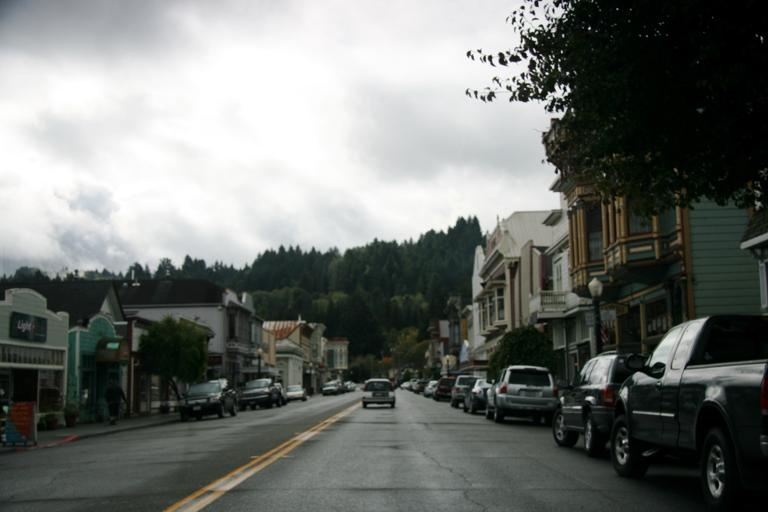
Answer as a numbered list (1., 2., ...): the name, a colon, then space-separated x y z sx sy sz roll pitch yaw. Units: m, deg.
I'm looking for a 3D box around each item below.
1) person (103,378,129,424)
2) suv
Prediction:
1. person: -12.005 6.460 38.663 0.799 1.964 0.632 0 -34 -16
2. suv: 5.576 3.716 22.444 1.343 1.721 2.969 2 -7 -8
